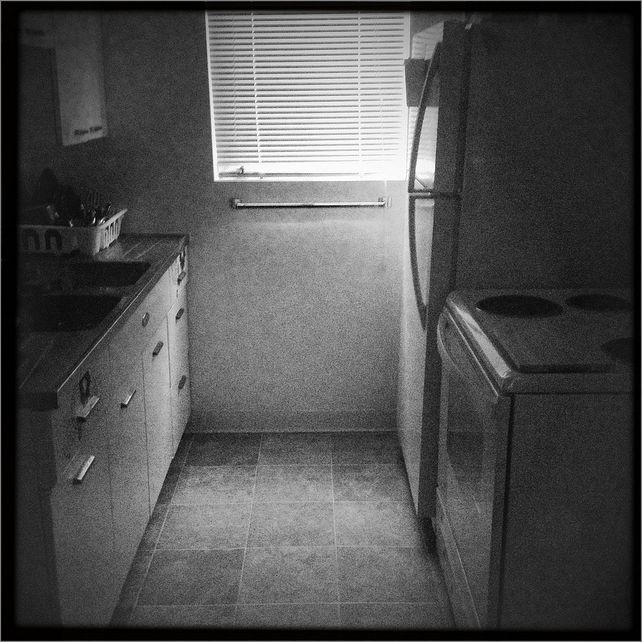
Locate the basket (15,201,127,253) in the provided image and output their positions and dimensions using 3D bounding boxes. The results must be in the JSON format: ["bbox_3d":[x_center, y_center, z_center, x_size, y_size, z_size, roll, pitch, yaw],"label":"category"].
[{"bbox_3d":[-0.276,-0.106,0.723,0.142,0.063,0.083,5,12,13],"label":"basket"}]

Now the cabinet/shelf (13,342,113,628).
[{"bbox_3d":[-0.291,0.196,0.685,0.106,0.306,0.082,-3,11,-22],"label":"cabinet/shelf"}]

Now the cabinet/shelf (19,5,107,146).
[{"bbox_3d":[-0.292,-0.264,0.675,0.077,0.136,0.148,-5,13,-30],"label":"cabinet/shelf"}]
